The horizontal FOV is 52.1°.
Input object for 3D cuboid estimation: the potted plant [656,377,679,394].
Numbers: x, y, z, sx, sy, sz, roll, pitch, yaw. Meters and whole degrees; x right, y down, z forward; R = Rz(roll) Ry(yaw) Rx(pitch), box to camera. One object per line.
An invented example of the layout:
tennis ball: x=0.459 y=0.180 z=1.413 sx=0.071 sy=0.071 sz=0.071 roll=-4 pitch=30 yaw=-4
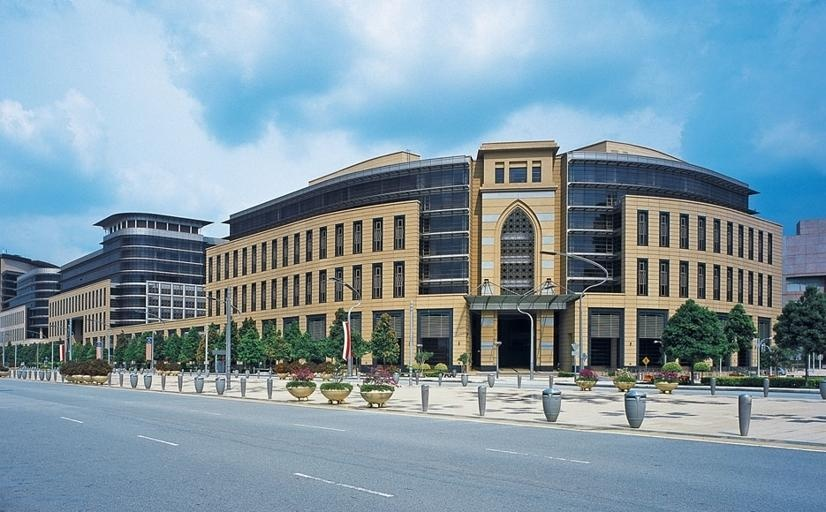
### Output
potted plant: x=20.256 y=10.357 z=68.270 sx=1.621 sy=0.913 sz=1.496 roll=1 pitch=-10 yaw=8

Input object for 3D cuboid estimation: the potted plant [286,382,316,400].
potted plant: x=-8.466 y=9.978 z=63.476 sx=1.839 sy=0.883 sz=1.685 roll=2 pitch=-9 yaw=1

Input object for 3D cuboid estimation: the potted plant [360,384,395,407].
potted plant: x=-2.560 y=9.659 z=59.158 sx=1.927 sy=0.918 sz=1.832 roll=5 pitch=-8 yaw=-32

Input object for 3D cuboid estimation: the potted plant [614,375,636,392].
potted plant: x=17.332 y=10.518 z=70.268 sx=1.573 sy=1.062 sz=1.464 roll=3 pitch=-5 yaw=-23

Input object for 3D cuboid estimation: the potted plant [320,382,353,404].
potted plant: x=-5.642 y=9.851 z=60.911 sx=1.910 sy=0.920 sz=1.805 roll=5 pitch=-10 yaw=-26
